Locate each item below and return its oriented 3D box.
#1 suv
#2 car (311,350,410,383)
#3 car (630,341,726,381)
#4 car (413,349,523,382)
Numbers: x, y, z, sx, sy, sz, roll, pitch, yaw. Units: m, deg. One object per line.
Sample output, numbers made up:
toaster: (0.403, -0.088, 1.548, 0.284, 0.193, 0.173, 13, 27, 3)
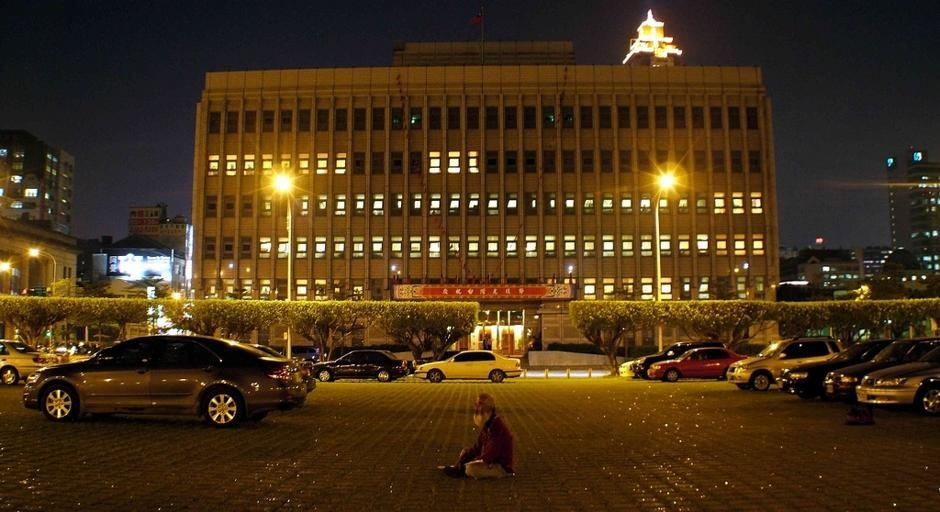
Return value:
suv: (17.823, 6.015, 48.290, 5.758, 2.342, 2.957, -1, -5, 2)
car: (-7.336, 7.491, 57.809, 5.876, 1.715, 2.381, 3, -8, 0)
car: (13.154, 6.933, 57.240, 7.480, 2.430, 2.973, 0, -5, -1)
car: (-0.360, 7.584, 59.037, 7.957, 2.339, 2.658, 0, -3, 0)
